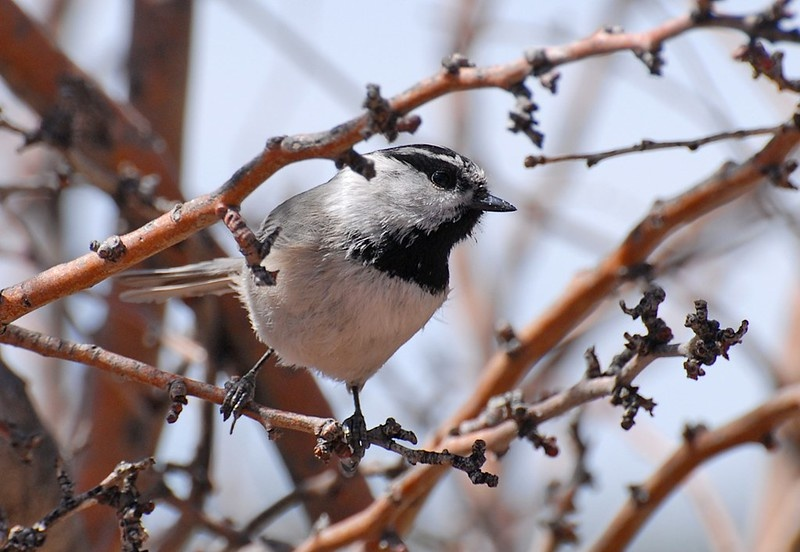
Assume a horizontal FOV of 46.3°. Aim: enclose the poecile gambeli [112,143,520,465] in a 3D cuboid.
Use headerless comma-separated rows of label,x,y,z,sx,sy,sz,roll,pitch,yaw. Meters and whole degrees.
poecile gambeli,-0.641,0.048,5.025,2.476,0.906,1.587,3,-102,32
